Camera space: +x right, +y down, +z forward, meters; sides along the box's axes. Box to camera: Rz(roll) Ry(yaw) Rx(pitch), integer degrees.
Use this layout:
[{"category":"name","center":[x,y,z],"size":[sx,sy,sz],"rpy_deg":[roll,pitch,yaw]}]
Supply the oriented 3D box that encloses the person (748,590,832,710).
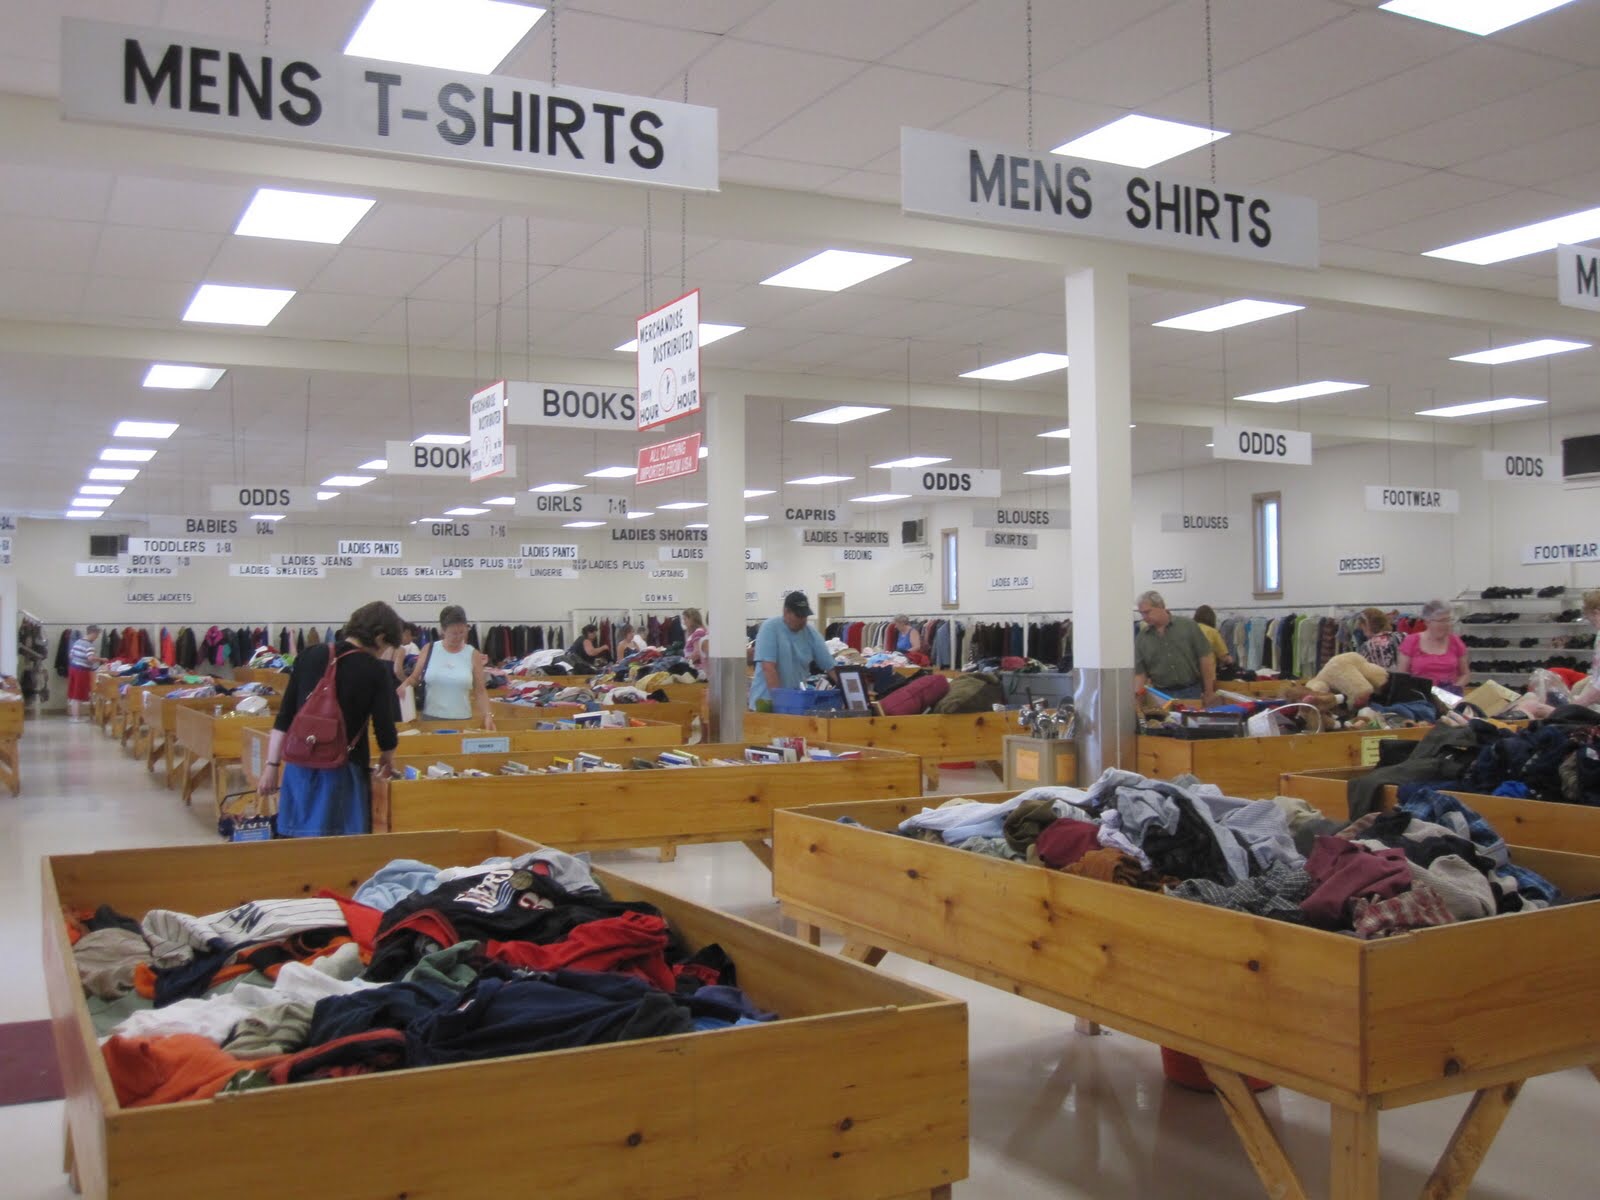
[{"category":"person","center":[-0.049,0.435,9.664],"size":[0.632,0.962,0.939],"rpy_deg":[-1,-1,-7]}]

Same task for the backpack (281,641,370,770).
[{"category":"backpack","center":[-2.555,0.593,6.214],"size":[0.343,0.613,0.229],"rpy_deg":[-1,-1,26]}]

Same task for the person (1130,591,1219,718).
[{"category":"person","center":[3.037,0.386,9.579],"size":[0.603,0.898,0.896],"rpy_deg":[-1,-1,15]}]

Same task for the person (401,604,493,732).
[{"category":"person","center":[-2.577,0.501,8.601],"size":[0.493,0.892,1.053],"rpy_deg":[-1,-1,-20]}]

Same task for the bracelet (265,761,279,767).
[{"category":"bracelet","center":[-2.903,0.905,6.479],"size":[0.061,0.038,0.063],"rpy_deg":[0,4,-10]}]

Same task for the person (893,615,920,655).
[{"category":"person","center":[2.065,0.715,22.628],"size":[0.539,1.135,0.730],"rpy_deg":[0,1,8]}]

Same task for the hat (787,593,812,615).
[{"category":"hat","center":[-0.017,0.070,9.362],"size":[0.190,0.241,0.521],"rpy_deg":[-1,-1,1]}]
